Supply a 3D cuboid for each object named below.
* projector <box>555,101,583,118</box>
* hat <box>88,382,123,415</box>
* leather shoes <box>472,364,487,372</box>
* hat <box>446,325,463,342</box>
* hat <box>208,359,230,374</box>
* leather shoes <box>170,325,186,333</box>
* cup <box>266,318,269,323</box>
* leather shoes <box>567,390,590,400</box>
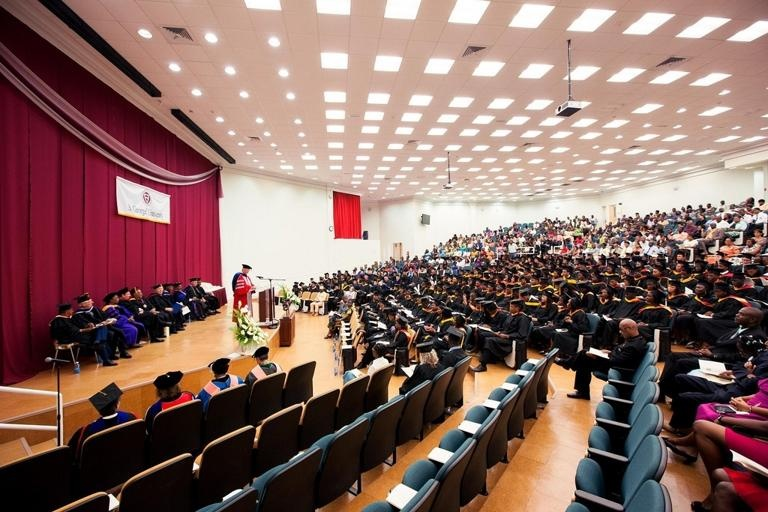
[{"bbox_3d":[4.410,-3.597,11.517,0.625,0.280,0.789,-4,-3,1],"label":"projector"},{"bbox_3d":[-4.690,2.384,7.932,0.513,0.511,0.205,-20,-33,-25],"label":"hat"},{"bbox_3d":[2.224,2.641,11.109,0.354,0.164,0.141,3,-14,-10],"label":"leather shoes"},{"bbox_3d":[1.540,1.687,10.425,0.262,0.091,0.368,-28,13,-18],"label":"hat"},{"bbox_3d":[-3.123,2.068,8.820,0.328,0.212,0.359,-7,-2,25],"label":"hat"},{"bbox_3d":[-5.785,2.054,13.152,0.110,0.210,0.424,-3,-4,-5],"label":"leather shoes"},{"bbox_3d":[-3.422,1.909,13.786,0.122,0.120,0.069,-5,-11,21],"label":"cup"},{"bbox_3d":[3.954,2.811,9.639,0.452,0.207,0.170,1,-3,34],"label":"leather shoes"}]
